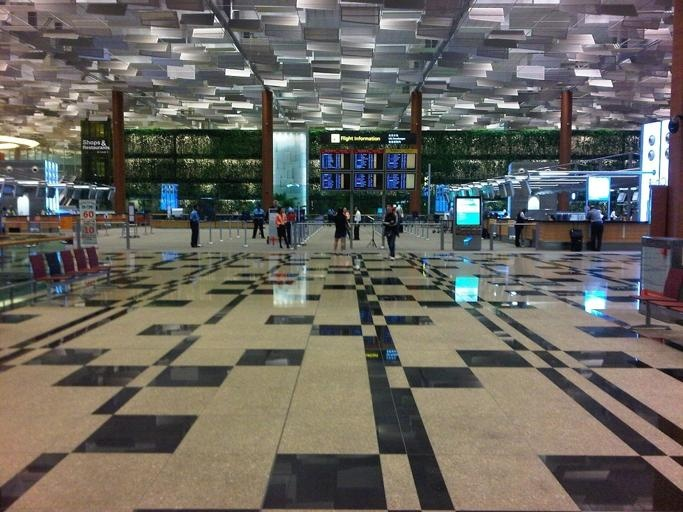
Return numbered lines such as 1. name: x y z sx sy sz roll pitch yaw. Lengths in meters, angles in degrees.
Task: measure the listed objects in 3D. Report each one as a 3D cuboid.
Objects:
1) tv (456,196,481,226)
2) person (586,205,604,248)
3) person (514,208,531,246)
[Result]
1. tv: 4.614 -1.704 19.038 1.005 1.136 0.143 1 1 1
2. person: 9.350 -1.027 19.225 0.553 1.577 0.937 3 7 26
3. person: 7.518 -1.233 21.782 0.454 1.525 1.928 2 7 20
